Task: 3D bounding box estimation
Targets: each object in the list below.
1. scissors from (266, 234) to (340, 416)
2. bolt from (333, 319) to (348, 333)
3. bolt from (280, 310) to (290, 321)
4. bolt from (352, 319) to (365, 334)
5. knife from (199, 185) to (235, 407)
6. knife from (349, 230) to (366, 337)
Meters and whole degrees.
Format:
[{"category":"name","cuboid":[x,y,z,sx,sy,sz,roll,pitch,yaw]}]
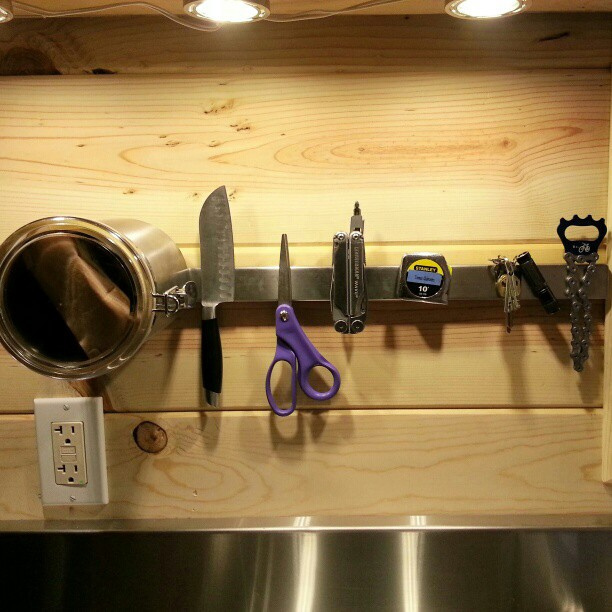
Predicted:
[{"category":"scissors","cuboid":[-0.008,0.025,0.920,0.102,0.238,0.069,-1,0,-3]},{"category":"bolt","cuboid":[0.049,0.027,0.895,0.017,0.018,0.010,-1,0,-10]},{"category":"bolt","cuboid":[-0.031,0.012,0.889,0.012,0.013,0.004,-1,15,6]},{"category":"bolt","cuboid":[0.072,0.028,0.893,0.018,0.016,0.005,0,10,-16]},{"category":"knife","cuboid":[-0.128,-0.013,0.905,0.058,0.300,0.035,-1,0,10]},{"category":"knife","cuboid":[0.072,-0.035,0.889,0.024,0.132,0.024,-1,0,2]}]
